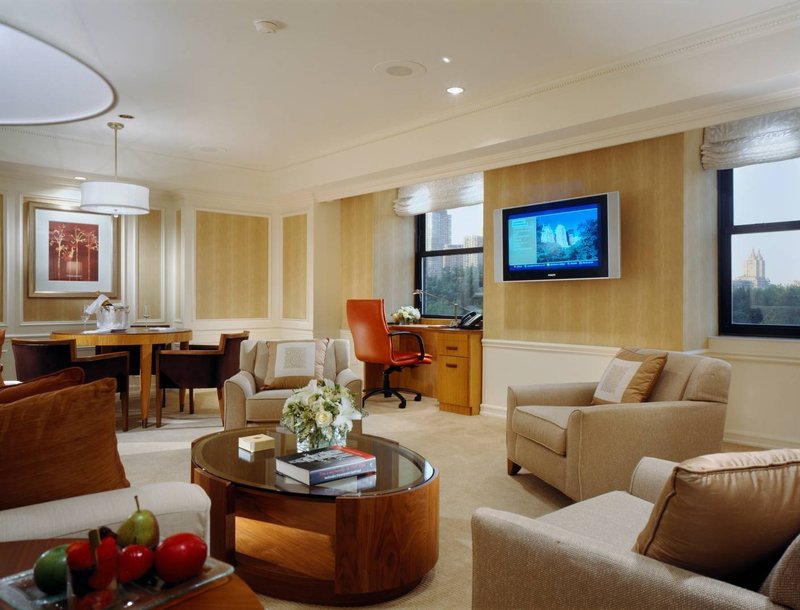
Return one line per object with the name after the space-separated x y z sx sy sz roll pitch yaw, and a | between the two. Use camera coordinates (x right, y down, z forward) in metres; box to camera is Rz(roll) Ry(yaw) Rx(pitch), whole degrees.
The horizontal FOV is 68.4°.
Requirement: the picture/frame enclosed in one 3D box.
-3.878 -0.651 6.907 0.090 1.387 1.172 -3 -3 43 | picture/frame

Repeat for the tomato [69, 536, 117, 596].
-0.785 0.668 1.537 0.120 0.153 0.128 -2 -5 -3 | tomato

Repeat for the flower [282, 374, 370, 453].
-0.410 0.567 3.350 0.400 0.401 0.407 1 1 23 | flower

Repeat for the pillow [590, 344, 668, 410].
1.491 0.469 3.813 0.108 0.364 0.375 29 4 -11 | pillow

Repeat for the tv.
1.373 -0.585 5.351 0.122 0.731 1.255 -3 4 -42 | tv

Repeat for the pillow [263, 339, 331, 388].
-0.850 0.493 4.798 0.344 0.306 0.117 0 -27 -3 | pillow

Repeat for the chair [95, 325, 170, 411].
-2.680 0.551 5.937 0.863 0.709 0.942 -1 -1 11 | chair

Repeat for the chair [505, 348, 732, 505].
1.381 0.762 3.890 1.118 0.888 1.096 0 1 -8 | chair

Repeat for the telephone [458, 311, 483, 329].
0.769 0.182 6.399 0.184 0.157 0.256 1 -9 -18 | telephone

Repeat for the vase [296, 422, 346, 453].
-0.438 0.746 3.278 0.168 0.131 0.175 -4 -6 29 | vase

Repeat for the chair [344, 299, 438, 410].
-0.144 0.548 6.494 0.842 1.146 0.886 1 -1 30 | chair

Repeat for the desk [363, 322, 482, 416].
0.260 0.658 6.486 1.342 0.840 0.471 4 2 38 | desk

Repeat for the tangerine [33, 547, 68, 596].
-0.922 0.715 1.576 0.102 0.104 0.104 -1 9 -31 | tangerine

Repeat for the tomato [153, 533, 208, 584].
-0.615 0.716 1.666 0.166 0.135 0.131 0 -13 -22 | tomato

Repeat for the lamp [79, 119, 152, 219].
-2.966 -1.398 6.117 0.581 0.886 1.115 -2 3 -26 | lamp

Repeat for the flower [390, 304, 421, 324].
0.095 0.107 7.253 0.242 0.171 0.243 0 -2 -31 | flower

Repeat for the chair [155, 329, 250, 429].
-1.954 0.633 5.652 0.812 0.743 0.830 3 5 36 | chair

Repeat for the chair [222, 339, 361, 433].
-0.931 0.581 4.928 1.044 0.872 0.764 0 -12 -5 | chair
